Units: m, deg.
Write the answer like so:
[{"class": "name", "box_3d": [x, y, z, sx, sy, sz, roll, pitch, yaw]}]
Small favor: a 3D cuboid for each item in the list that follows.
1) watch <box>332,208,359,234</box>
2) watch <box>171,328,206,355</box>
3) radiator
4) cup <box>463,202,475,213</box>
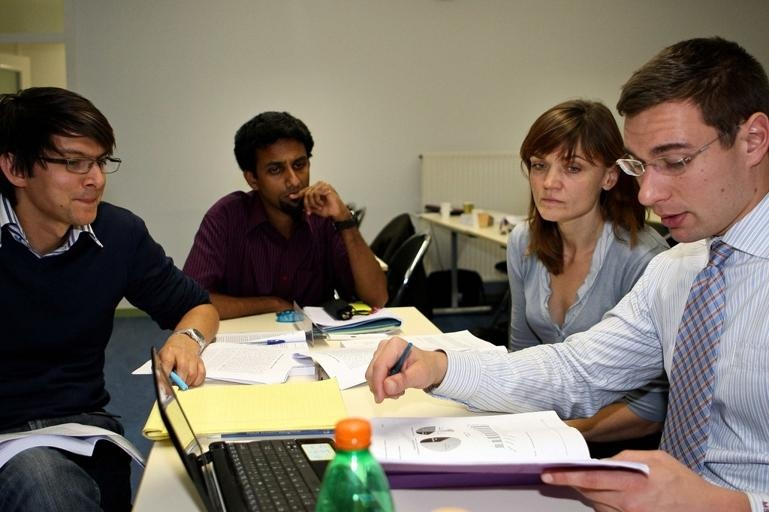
[{"class": "watch", "box_3d": [-0.188, -0.161, 2.533, 0.083, 0.064, 0.092, -29, 1, 6]}, {"class": "watch", "box_3d": [-0.645, 0.281, 1.796, 0.082, 0.081, 0.047, 1, 29, 22]}, {"class": "radiator", "box_3d": [0.787, -0.430, 4.929, 1.282, 1.481, 0.056, -2, 8, -12]}, {"class": "cup", "box_3d": [0.802, -0.455, 5.083, 0.103, 0.088, 0.096, -2, 9, 0]}]
